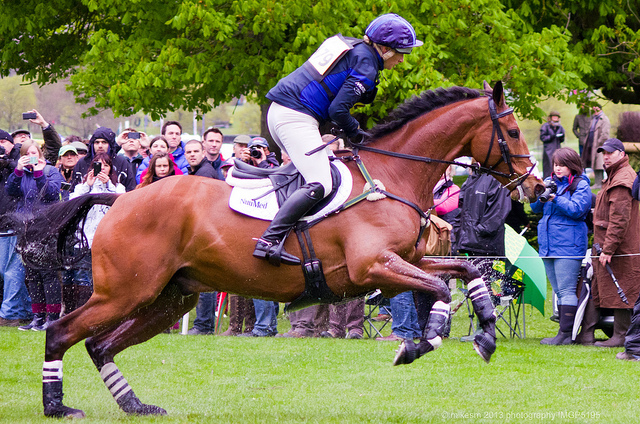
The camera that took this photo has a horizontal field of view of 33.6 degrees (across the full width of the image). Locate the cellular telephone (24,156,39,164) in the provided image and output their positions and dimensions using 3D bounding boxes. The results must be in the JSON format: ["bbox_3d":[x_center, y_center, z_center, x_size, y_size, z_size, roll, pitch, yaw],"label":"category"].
[{"bbox_3d":[-4.311,-0.803,15.886,0.155,0.040,0.161,-5,-17,15],"label":"cellular telephone"}]

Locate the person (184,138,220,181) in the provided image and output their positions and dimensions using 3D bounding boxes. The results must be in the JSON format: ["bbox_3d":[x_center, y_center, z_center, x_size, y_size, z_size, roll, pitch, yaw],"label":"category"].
[{"bbox_3d":[-1.920,-0.848,17.186,0.886,0.694,0.435,-2,1,16],"label":"person"}]

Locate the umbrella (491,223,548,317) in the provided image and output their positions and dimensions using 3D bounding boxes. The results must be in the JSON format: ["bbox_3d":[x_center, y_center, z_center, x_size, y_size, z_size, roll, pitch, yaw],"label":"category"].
[{"bbox_3d":[3.168,0.993,17.458,0.890,1.437,0.799,1,-6,-24],"label":"umbrella"}]

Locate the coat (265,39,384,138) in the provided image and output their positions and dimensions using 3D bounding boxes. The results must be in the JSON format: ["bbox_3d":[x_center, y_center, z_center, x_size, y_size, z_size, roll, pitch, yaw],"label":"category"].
[{"bbox_3d":[0.133,-1.753,14.071,1.471,1.200,1.128,6,17,-14],"label":"coat"}]

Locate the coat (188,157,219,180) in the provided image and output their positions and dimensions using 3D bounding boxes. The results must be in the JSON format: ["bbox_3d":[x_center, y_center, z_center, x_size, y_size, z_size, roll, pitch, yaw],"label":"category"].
[{"bbox_3d":[-1.880,-0.695,16.889,0.481,0.393,0.254,-1,-8,19],"label":"coat"}]
